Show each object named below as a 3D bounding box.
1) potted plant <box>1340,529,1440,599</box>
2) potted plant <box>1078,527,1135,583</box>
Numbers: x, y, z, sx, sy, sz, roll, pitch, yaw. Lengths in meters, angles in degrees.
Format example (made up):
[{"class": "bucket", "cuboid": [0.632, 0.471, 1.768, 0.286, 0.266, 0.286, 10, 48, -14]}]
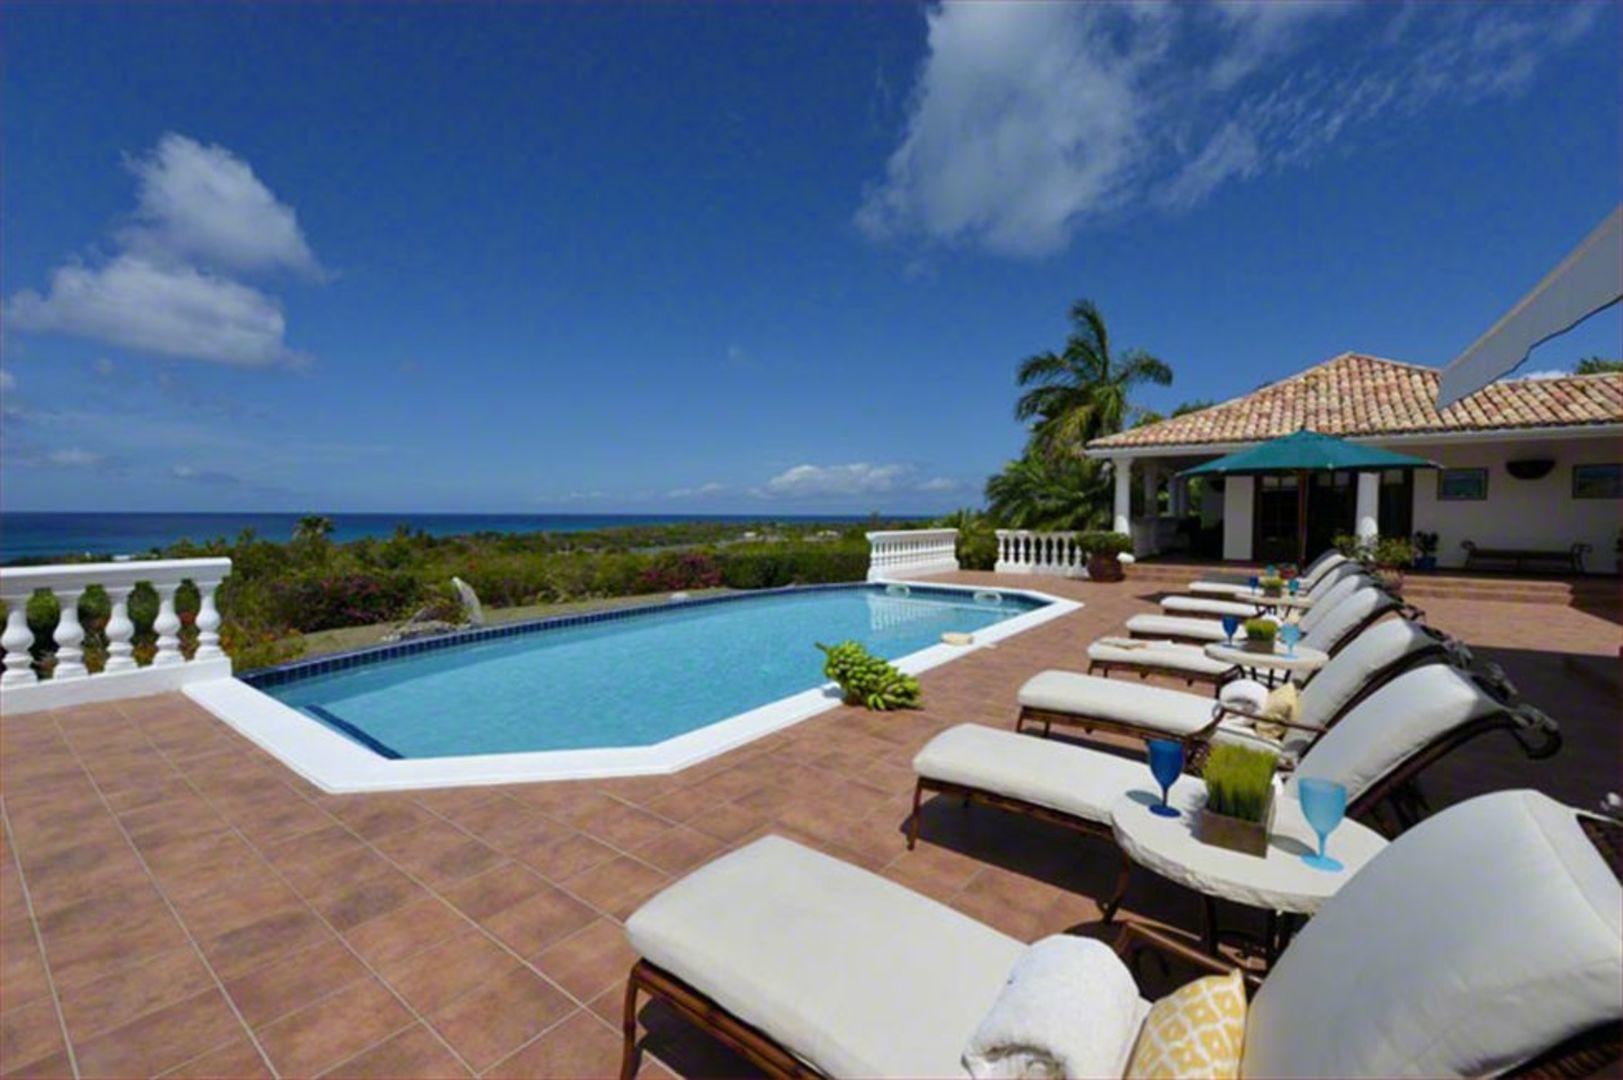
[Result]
[{"class": "potted plant", "cuboid": [11.682, 0.521, 16.668, 1.522, 1.115, 1.088, -4, 4, -42]}, {"class": "potted plant", "cuboid": [7.536, 0.454, 21.280, 1.319, 1.306, 1.228, 1, -7, -1]}]
